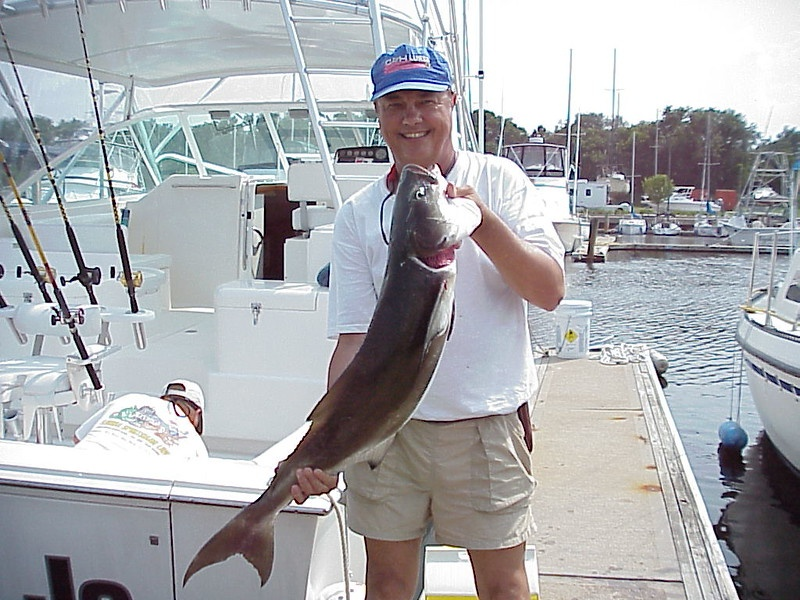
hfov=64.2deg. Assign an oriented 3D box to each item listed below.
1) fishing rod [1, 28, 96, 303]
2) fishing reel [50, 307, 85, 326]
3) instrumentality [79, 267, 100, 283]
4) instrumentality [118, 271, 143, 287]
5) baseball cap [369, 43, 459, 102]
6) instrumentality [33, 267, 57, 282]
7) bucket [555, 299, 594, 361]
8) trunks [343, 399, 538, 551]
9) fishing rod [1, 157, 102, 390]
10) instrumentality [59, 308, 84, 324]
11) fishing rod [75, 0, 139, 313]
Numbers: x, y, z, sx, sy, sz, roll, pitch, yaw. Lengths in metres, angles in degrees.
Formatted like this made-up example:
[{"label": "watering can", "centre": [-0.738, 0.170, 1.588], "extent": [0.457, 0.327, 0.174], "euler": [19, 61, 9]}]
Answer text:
[{"label": "fishing rod", "centre": [-2.753, -1.107, 4.986], "extent": [0.259, 2.380, 0.271], "euler": [-18, 5, -18]}, {"label": "fishing reel", "centre": [-1.639, 0.076, 3.161], "extent": [0.116, 0.066, 0.090], "euler": [3, 3, -10]}, {"label": "instrumentality", "centre": [-1.654, -0.139, 3.449], "extent": [0.103, 0.062, 0.062], "euler": [-3, -26, 19]}, {"label": "instrumentality", "centre": [-1.543, -0.107, 3.670], "extent": [0.124, 0.050, 0.122], "euler": [-1, 37, -11]}, {"label": "baseball cap", "centre": [0.038, -0.708, 1.967], "extent": [0.257, 0.163, 0.186], "euler": [-3, 11, 4]}, {"label": "instrumentality", "centre": [-1.928, -0.143, 3.482], "extent": [0.087, 0.055, 0.113], "euler": [7, -36, 7]}, {"label": "bucket", "centre": [2.531, 0.430, 9.423], "extent": [0.638, 0.817, 0.663], "euler": [-4, 7, 0]}, {"label": "trunks", "centre": [0.144, 0.415, 2.099], "extent": [0.693, 0.493, 0.396], "euler": [-1, -8, 14]}, {"label": "fishing rod", "centre": [-2.355, -0.189, 4.281], "extent": [0.190, 2.202, 0.172], "euler": [-18, -19, -30]}, {"label": "instrumentality", "centre": [-1.602, 0.078, 3.146], "extent": [0.087, 0.084, 0.035], "euler": [2, -1, -19]}, {"label": "fishing rod", "centre": [-2.545, -1.308, 5.540], "extent": [0.099, 2.597, 0.063], "euler": [-13, 7, 6]}]
